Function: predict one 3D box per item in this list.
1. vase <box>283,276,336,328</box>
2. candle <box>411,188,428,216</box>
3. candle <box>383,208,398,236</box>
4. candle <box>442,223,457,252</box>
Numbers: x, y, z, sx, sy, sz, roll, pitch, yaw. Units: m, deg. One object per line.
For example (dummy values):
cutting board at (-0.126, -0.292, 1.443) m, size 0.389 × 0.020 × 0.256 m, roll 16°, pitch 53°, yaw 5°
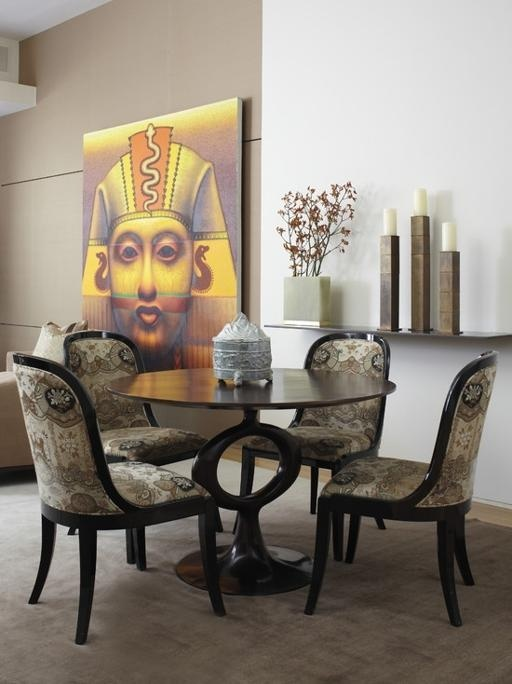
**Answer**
vase at (0.300, -0.223, 3.266) m, size 0.285 × 0.278 × 0.145 m, roll 5°, pitch 4°, yaw 43°
candle at (0.797, -0.662, 2.809) m, size 0.081 × 0.132 × 0.051 m, roll 0°, pitch -1°, yaw -20°
candle at (0.666, -0.582, 2.880) m, size 0.077 × 0.136 × 0.041 m, roll 0°, pitch -1°, yaw -24°
candle at (0.878, -0.469, 2.661) m, size 0.057 × 0.128 × 0.044 m, roll 0°, pitch -1°, yaw 7°
